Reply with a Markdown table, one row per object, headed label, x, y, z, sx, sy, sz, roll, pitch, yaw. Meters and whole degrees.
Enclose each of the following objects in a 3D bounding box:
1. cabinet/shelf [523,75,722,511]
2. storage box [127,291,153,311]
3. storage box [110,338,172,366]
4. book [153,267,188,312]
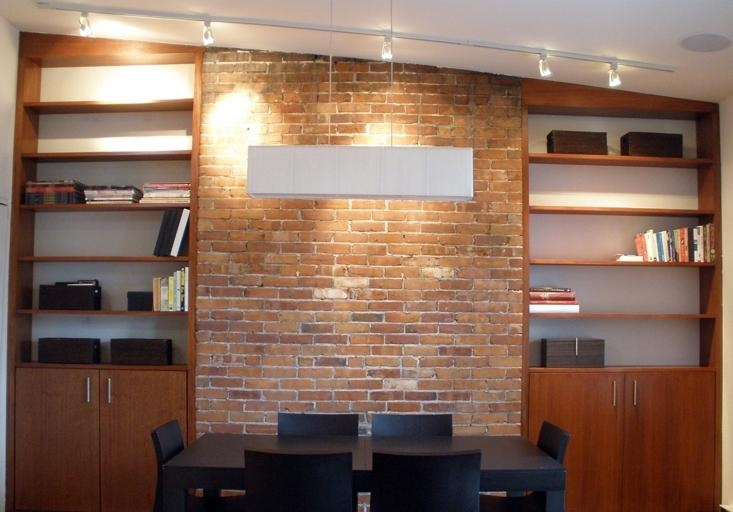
| label | x | y | z | sx | sy | sz | roll | pitch | yaw |
| --- | --- | --- | --- | --- | --- | --- | --- | --- | --- |
| cabinet/shelf | 2.245 | 0.341 | 6.933 | 1.872 | 3.734 | 0.459 | 2 | -8 | -3 |
| storage box | -1.997 | 0.399 | 6.863 | 0.176 | 0.131 | 0.177 | -6 | -8 | 36 |
| storage box | -1.974 | 0.844 | 6.826 | 0.510 | 0.235 | 0.177 | 4 | -8 | -17 |
| book | -1.718 | 0.297 | 6.850 | 0.355 | 0.389 | 0.085 | 0 | -8 | 10 |
